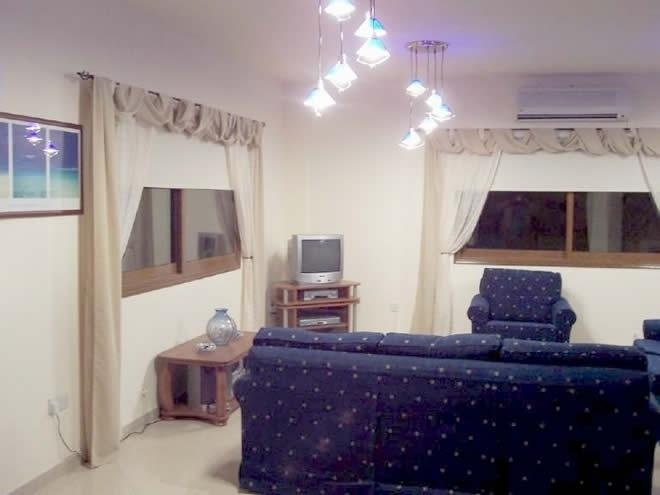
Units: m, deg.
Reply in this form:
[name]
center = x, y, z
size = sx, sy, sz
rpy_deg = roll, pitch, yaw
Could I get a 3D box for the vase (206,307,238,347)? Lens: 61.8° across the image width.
[vase]
center = -0.894, 0.670, 4.745
size = 0.274, 0.345, 0.298
rpy_deg = 3, -2, -3

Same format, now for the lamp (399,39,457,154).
[lamp]
center = 1.022, -1.504, 5.615
size = 0.568, 0.815, 2.035
rpy_deg = 1, 0, 7

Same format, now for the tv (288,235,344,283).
[tv]
center = -0.129, 0.143, 6.517
size = 0.750, 0.710, 0.491
rpy_deg = 0, 1, -22

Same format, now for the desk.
[desk]
center = -1.040, 1.054, 4.650
size = 0.682, 0.555, 1.132
rpy_deg = 1, 3, 9

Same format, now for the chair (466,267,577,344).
[chair]
center = 2.080, 0.478, 6.004
size = 1.197, 0.952, 0.737
rpy_deg = 1, -2, 16
